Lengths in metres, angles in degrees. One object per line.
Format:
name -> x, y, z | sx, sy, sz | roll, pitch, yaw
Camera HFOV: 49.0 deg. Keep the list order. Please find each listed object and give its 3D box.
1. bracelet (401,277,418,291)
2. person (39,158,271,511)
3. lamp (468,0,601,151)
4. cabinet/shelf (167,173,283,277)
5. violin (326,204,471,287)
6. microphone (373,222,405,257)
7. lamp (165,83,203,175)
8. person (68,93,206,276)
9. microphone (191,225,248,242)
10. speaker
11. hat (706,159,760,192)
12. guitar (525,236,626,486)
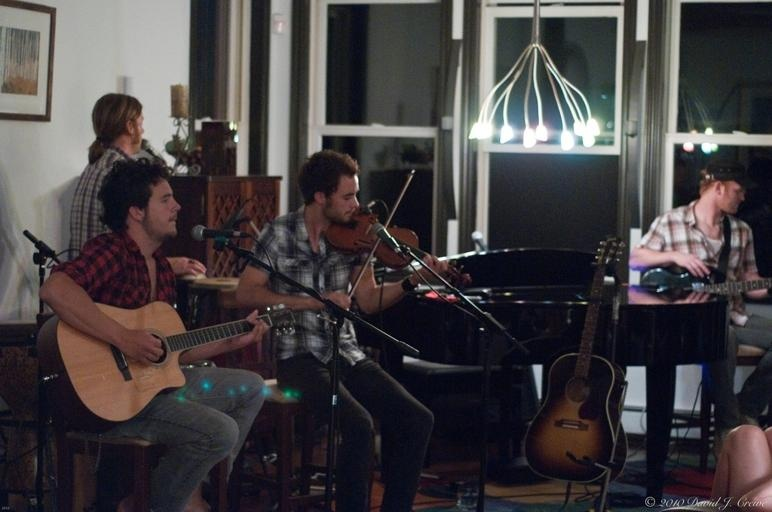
bracelet -> 0.121, 0.153, 4.539 | 0.080, 0.060, 0.038 | 9, 51, 37
person -> -1.187, 0.354, 4.171 | 0.296, 2.010, 0.940 | -18, -18, 40
lamp -> 1.168, -1.289, 6.007 | 1.092, 1.201, 1.152 | 0, 9, -2
cabinet/shelf -> -1.021, -0.181, 5.138 | 0.239, 0.603, 0.640 | 6, 7, 35
violin -> 0.064, -0.043, 4.600 | 0.837, 0.133, 0.345 | 22, 50, 18
microphone -> -0.017, -0.094, 4.330 | 0.079, 0.084, 0.302 | 14, 15, -24
lamp -> -1.423, -0.861, 5.827 | 0.196, 0.544, 0.199 | -1, 0, 2
person -> -1.519, -0.304, 5.358 | 0.987, 1.447, 0.812 | -1, -2, -22
microphone -> -0.893, -0.120, 4.414 | 0.290, 0.084, 0.080 | 4, -5, -7
speaker -> 0.638, 1.173, 5.785 | 0.807, 0.772, 0.589 | -5, -10, 33
hat -> 2.485, -0.588, 6.053 | 0.346, 0.177, 0.251 | 9, 7, 11
guitar -> 1.115, 0.593, 4.899 | 0.536, 1.349, 0.525 | 3, 5, 22
